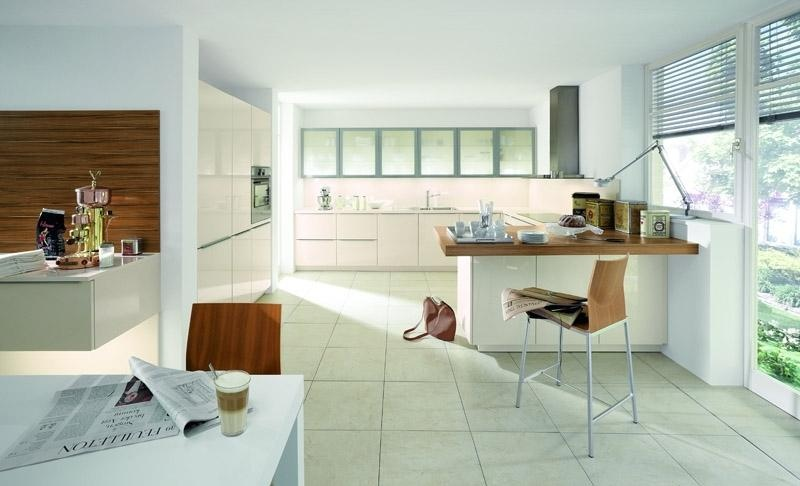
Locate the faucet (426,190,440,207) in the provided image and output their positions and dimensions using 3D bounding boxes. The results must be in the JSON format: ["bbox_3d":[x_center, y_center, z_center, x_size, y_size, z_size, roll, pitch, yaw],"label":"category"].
[{"bbox_3d":[0.601,-0.773,9.371,0.255,0.300,0.146,-2,8,2],"label":"faucet"}]

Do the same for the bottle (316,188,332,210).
[{"bbox_3d":[-1.261,-0.748,8.933,0.193,0.368,0.207,-2,8,0],"label":"bottle"}]

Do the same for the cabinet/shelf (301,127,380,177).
[{"bbox_3d":[-1.044,-1.574,9.033,0.921,0.565,0.286,0,1,-4],"label":"cabinet/shelf"}]

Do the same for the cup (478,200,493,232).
[{"bbox_3d":[0.854,-0.278,5.236,0.126,0.269,0.360,-1,8,8],"label":"cup"}]

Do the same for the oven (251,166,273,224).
[{"bbox_3d":[-1.853,-0.645,7.127,0.312,0.703,0.858,0,2,-4],"label":"oven"}]

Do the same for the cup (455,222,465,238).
[{"bbox_3d":[0.590,-0.138,5.208,0.134,0.136,0.121,-2,4,-24],"label":"cup"}]

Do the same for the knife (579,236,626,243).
[{"bbox_3d":[1.968,-0.034,5.198,0.431,0.010,0.380,2,8,24],"label":"knife"}]
